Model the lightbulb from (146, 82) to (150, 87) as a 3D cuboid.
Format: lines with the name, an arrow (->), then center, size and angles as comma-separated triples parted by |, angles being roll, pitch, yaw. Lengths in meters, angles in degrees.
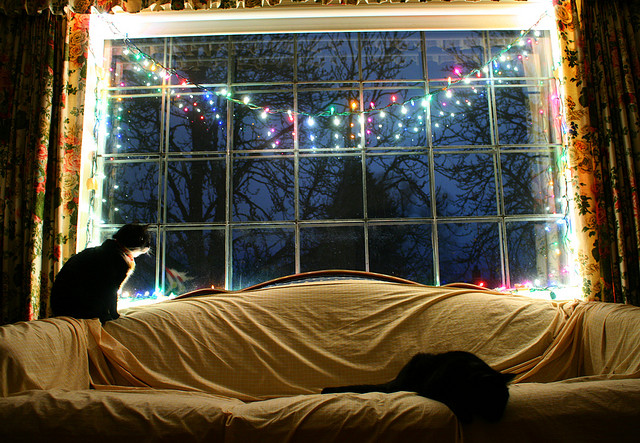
lightbulb -> -1.324, -1.077, 5.715 | 0.027, 0.027, 0.011 | 1, -1, 1

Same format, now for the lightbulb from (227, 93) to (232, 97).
lightbulb -> -0.694, -0.989, 5.696 | 0.036, 0.029, 0.024 | 2, -2, -44

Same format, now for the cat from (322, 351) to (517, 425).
cat -> 0.644, 0.930, 4.300 | 0.919, 0.371, 0.250 | 5, 1, 37

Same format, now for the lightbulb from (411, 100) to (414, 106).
lightbulb -> 0.714, -0.926, 5.676 | 0.022, 0.033, 0.008 | 0, -5, 0

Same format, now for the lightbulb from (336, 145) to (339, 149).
lightbulb -> 0.139, -0.577, 5.644 | 0.022, 0.022, 0.022 | 1, -1, -10

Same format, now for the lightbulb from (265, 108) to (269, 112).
lightbulb -> -0.401, -0.873, 5.681 | 0.031, 0.019, 0.035 | 1, -2, -13

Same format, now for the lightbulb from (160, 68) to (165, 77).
lightbulb -> -1.213, -1.165, 5.732 | 0.043, 0.057, 0.023 | 0, -1, 32

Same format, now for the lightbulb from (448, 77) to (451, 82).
lightbulb -> 1.002, -1.108, 5.699 | 0.020, 0.037, 0.015 | 0, -1, 13

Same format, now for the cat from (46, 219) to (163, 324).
cat -> -1.570, 0.339, 4.865 | 0.809, 0.827, 0.443 | 4, -3, -34
